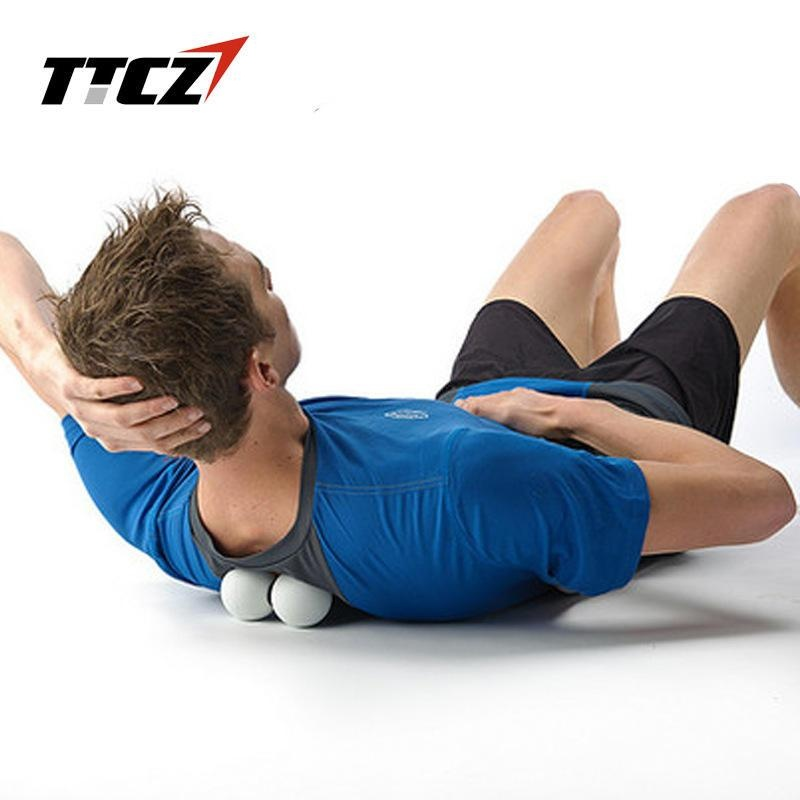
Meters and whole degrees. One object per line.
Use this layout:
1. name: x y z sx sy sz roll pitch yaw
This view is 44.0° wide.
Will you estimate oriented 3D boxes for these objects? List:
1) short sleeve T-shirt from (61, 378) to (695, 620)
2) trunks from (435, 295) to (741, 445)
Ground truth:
1. short sleeve T-shirt: 0.021 0.102 2.053 1.201 0.407 0.879 -4 13 -39
2. trunks: 0.474 -0.111 2.422 0.633 0.387 0.562 -5 21 -36
